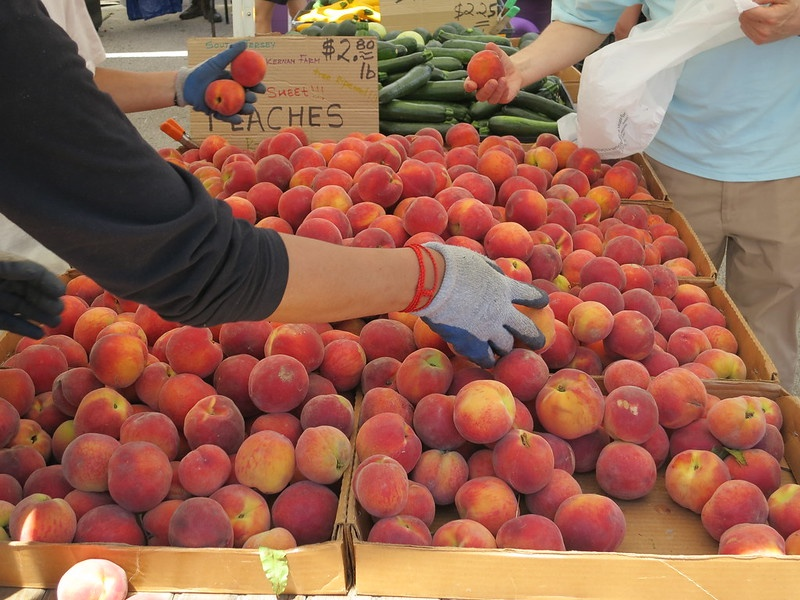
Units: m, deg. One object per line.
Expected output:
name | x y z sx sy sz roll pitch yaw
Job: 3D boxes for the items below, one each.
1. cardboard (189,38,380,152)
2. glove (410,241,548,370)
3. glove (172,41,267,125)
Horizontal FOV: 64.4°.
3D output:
cardboard | -0.548 -1.032 3.109 0.669 0.466 0.030 -2 14 -4
glove | 0.228 0.016 1.821 0.110 0.443 0.283 6 62 54
glove | -0.831 -1.023 2.975 0.363 0.357 0.207 -29 33 7
